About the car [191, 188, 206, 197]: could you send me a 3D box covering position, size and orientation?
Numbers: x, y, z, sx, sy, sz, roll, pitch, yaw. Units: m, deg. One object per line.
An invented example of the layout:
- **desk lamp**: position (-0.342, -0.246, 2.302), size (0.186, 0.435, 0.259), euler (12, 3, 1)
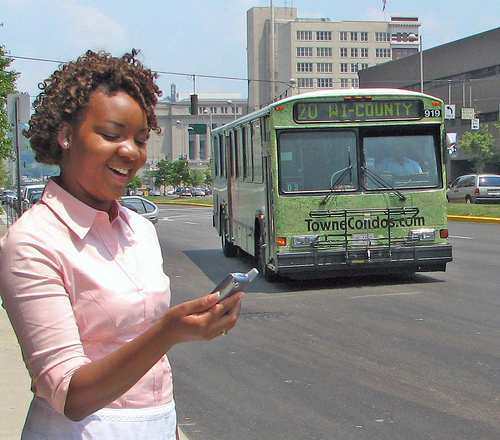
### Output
- **car**: position (-9.156, -4.893, 98.866), size (1.376, 1.152, 3.282), euler (-2, -2, -21)
